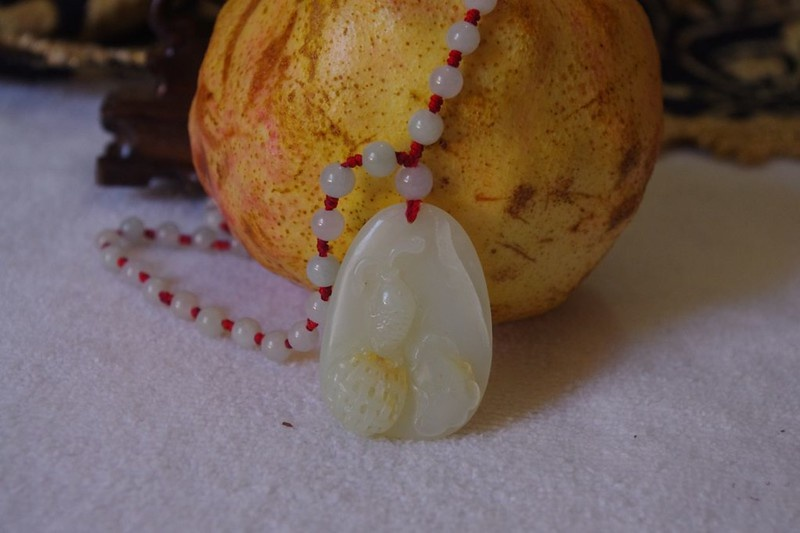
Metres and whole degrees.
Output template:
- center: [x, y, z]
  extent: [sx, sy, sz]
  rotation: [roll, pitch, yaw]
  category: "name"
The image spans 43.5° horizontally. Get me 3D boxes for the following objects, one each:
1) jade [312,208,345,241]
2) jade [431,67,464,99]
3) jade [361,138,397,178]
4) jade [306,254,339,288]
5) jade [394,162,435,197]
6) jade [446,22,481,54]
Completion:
- center: [-0.110, -0.067, 1.527]
  extent: [0.040, 0.044, 0.057]
  rotation: [2, 94, 12]
  category: "jade"
- center: [0.071, -0.273, 1.485]
  extent: [0.038, 0.042, 0.054]
  rotation: [2, 97, 13]
  category: "jade"
- center: [-0.030, -0.162, 1.493]
  extent: [0.043, 0.048, 0.062]
  rotation: [1, 94, 11]
  category: "jade"
- center: [-0.117, 0.004, 1.554]
  extent: [0.039, 0.044, 0.056]
  rotation: [2, 94, 9]
  category: "jade"
- center: [0.023, -0.134, 1.522]
  extent: [0.055, 0.060, 0.076]
  rotation: [-7, 95, -14]
  category: "jade"
- center: [0.094, -0.342, 1.486]
  extent: [0.040, 0.042, 0.047]
  rotation: [4, 102, -20]
  category: "jade"
